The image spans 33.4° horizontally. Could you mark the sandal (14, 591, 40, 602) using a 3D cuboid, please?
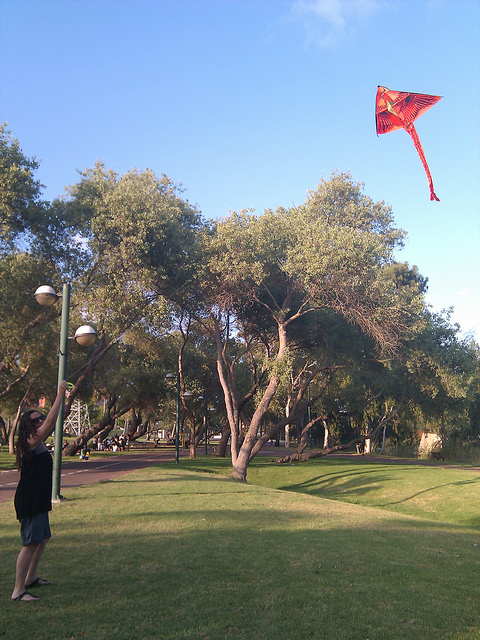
[{"bbox_3d":[-2.572,3.314,9.542,0.257,0.115,0.101,11,-13,-7],"label":"sandal"}]

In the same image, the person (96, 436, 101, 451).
[{"bbox_3d":[-9.371,8.163,52.800,0.211,0.835,1.004,2,-6,-11],"label":"person"}]

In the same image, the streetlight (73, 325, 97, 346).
[{"bbox_3d":[-2.879,0.288,14.735,0.312,0.361,0.321,2,2,1],"label":"streetlight"}]

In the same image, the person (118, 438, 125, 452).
[{"bbox_3d":[-8.252,8.680,55.401,0.397,0.897,0.265,4,-43,2],"label":"person"}]

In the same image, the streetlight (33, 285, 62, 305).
[{"bbox_3d":[-3.850,-0.487,15.726,0.344,0.371,0.359,6,-7,-13],"label":"streetlight"}]

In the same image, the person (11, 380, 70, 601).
[{"bbox_3d":[-2.547,2.212,9.902,0.496,2.357,0.686,2,-5,-15],"label":"person"}]

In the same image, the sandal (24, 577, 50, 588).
[{"bbox_3d":[-2.547,3.303,9.971,0.104,0.121,0.292,2,-12,44],"label":"sandal"}]

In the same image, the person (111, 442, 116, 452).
[{"bbox_3d":[-8.237,8.392,51.880,0.209,0.980,0.302,-10,-47,-5],"label":"person"}]

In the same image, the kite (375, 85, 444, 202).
[{"bbox_3d":[4.824,-5.326,23.051,1.246,3.345,2.914,2,-6,-15],"label":"kite"}]
